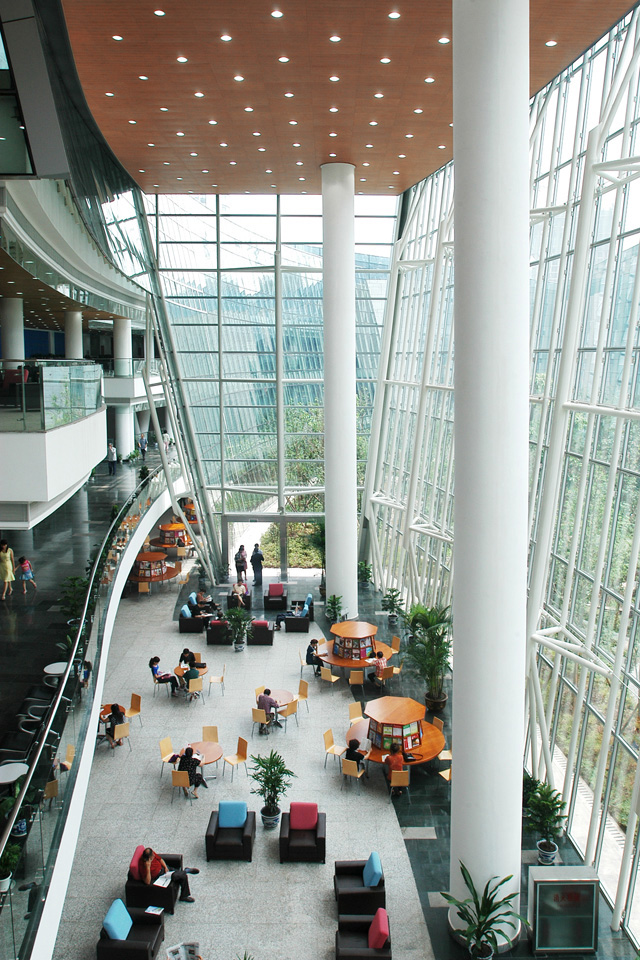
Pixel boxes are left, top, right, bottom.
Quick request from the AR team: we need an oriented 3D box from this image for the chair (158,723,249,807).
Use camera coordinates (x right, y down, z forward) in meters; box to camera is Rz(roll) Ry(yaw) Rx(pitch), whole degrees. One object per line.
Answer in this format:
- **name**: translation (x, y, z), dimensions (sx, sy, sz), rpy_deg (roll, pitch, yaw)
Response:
- **chair**: translation (-1.985, 4.339, 10.359), dimensions (0.873, 0.480, 0.931), rpy_deg (5, 14, 28)

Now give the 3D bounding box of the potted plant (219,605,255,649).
- **potted plant**: translation (-2.086, 3.662, 17.336), dimensions (0.755, 1.322, 0.919), rpy_deg (2, 7, 5)

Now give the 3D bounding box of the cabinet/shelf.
- **cabinet/shelf**: translation (2.427, 4.320, 6.844), dimensions (0.683, 0.869, 0.438), rpy_deg (0, 6, 0)

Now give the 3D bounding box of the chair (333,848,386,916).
- **chair**: translation (0.422, 4.475, 7.596), dimensions (0.548, 0.784, 0.765), rpy_deg (1, 2, 0)

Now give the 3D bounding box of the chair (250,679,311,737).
- **chair**: translation (-0.871, 4.170, 12.436), dimensions (0.824, 0.438, 0.815), rpy_deg (-8, 12, -43)

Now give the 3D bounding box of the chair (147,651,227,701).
- **chair**: translation (-2.767, 4.078, 14.173), dimensions (1.053, 0.591, 1.140), rpy_deg (1, 4, -5)

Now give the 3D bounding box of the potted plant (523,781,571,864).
- **potted plant**: translation (2.777, 4.340, 8.516), dimensions (0.506, 0.965, 1.300), rpy_deg (1, 4, 20)

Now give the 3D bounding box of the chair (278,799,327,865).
- **chair**: translation (-0.198, 4.510, 8.760), dimensions (0.584, 0.717, 0.633), rpy_deg (1, 1, 1)

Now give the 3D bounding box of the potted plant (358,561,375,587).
- **potted plant**: translation (1.491, 2.948, 21.855), dimensions (0.592, 1.017, 0.601), rpy_deg (-1, 6, -2)

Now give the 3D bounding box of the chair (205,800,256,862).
- **chair**: translation (-1.138, 4.548, 8.856), dimensions (0.550, 0.689, 0.632), rpy_deg (0, 3, 1)

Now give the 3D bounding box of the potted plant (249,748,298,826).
- **potted plant**: translation (-0.741, 4.324, 9.944), dimensions (0.744, 1.261, 0.777), rpy_deg (0, 9, 3)
